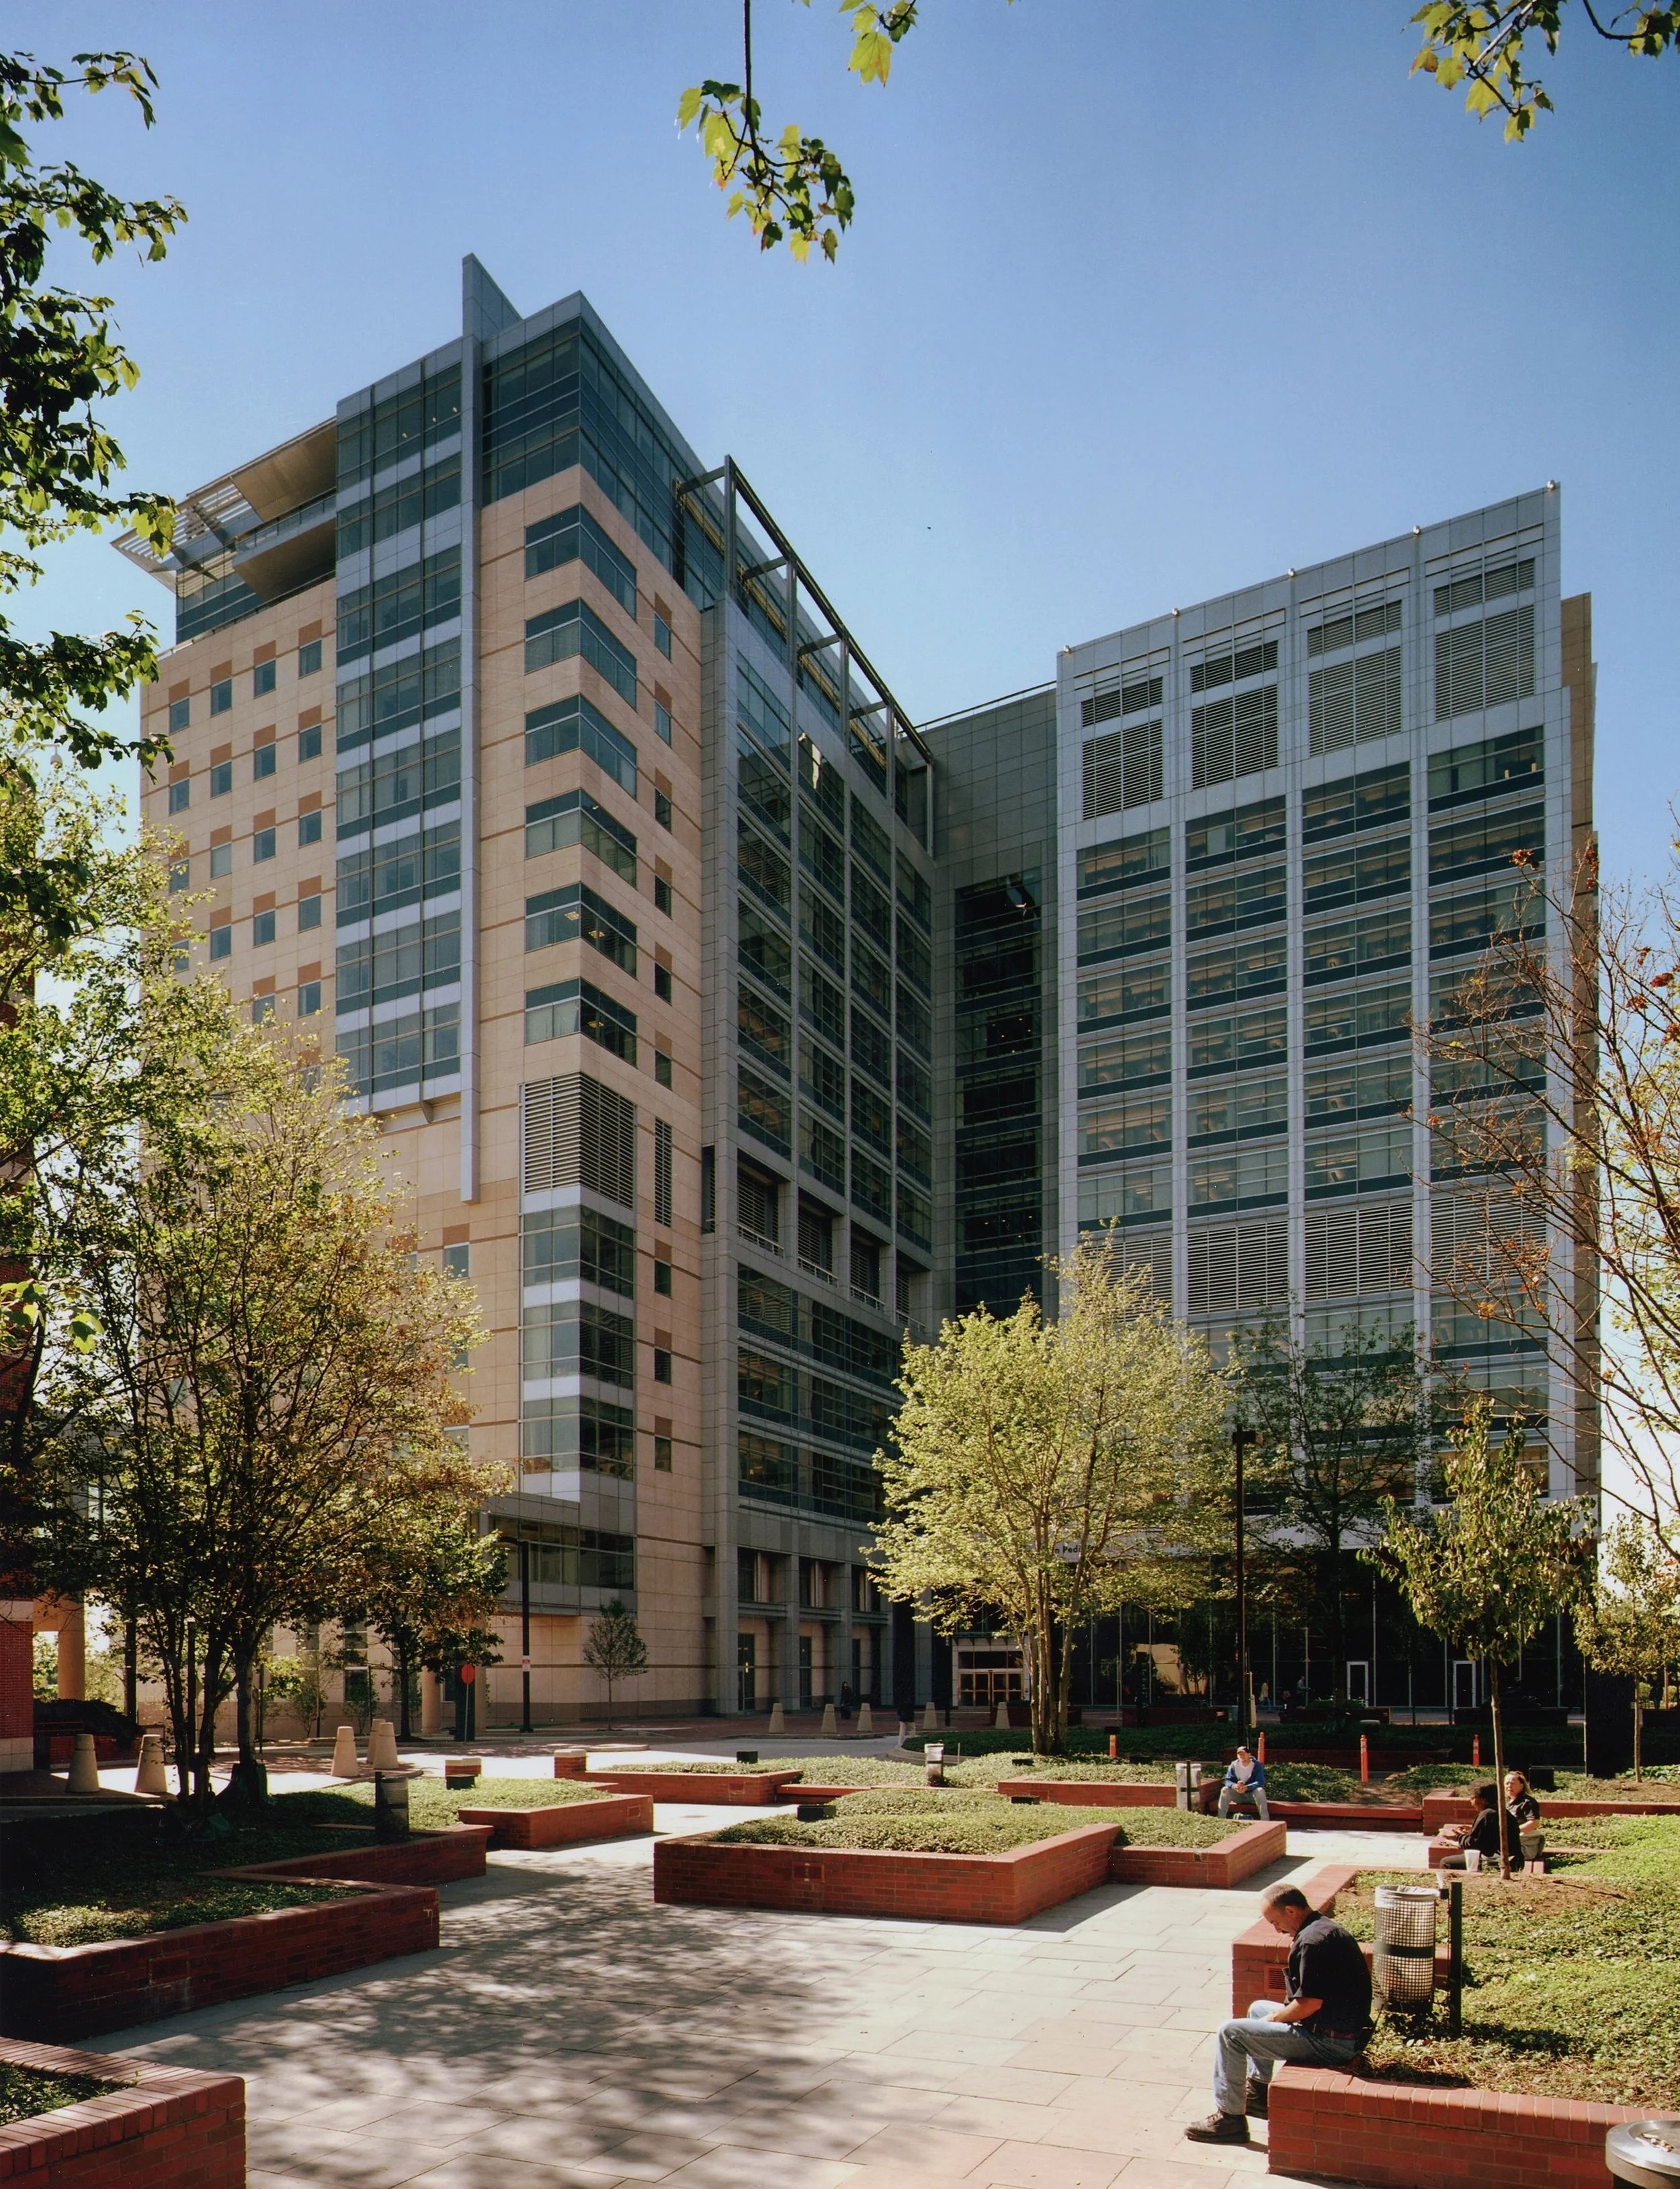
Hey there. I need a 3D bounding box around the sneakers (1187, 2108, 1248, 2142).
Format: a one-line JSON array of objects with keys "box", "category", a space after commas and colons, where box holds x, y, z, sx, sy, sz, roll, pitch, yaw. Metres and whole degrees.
[{"box": [2.007, 5.524, 13.068, 0.330, 0.128, 0.125, 5, -20, 9], "category": "sneakers"}]

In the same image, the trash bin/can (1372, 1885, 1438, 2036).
[{"box": [3.200, 4.782, 13.588, 0.416, 0.618, 0.414, 4, -17, -17], "category": "trash bin/can"}]

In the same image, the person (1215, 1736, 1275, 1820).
[{"box": [4.343, 7.510, 26.621, 0.481, 0.671, 1.292, -2, -14, 4], "category": "person"}]

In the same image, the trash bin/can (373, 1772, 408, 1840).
[{"box": [-4.051, 6.399, 21.921, 0.274, 0.577, 0.441, 2, -14, -15], "category": "trash bin/can"}]
